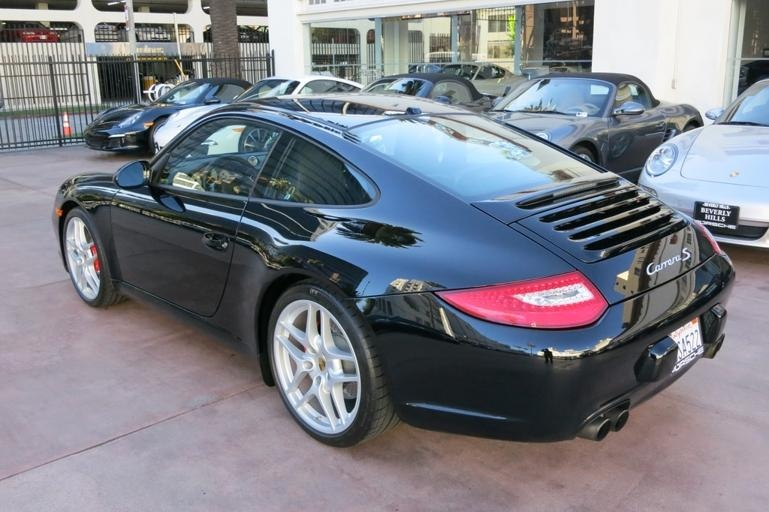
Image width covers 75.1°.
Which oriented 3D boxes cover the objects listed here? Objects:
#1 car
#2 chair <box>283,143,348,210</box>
[{"bbox_3d":[-0.433,-0.238,3.500,4.221,1.198,2.161,17,23,34],"label":"car"},{"bbox_3d":[-0.440,-0.491,3.052,0.544,0.271,0.156,22,18,29],"label":"chair"}]
